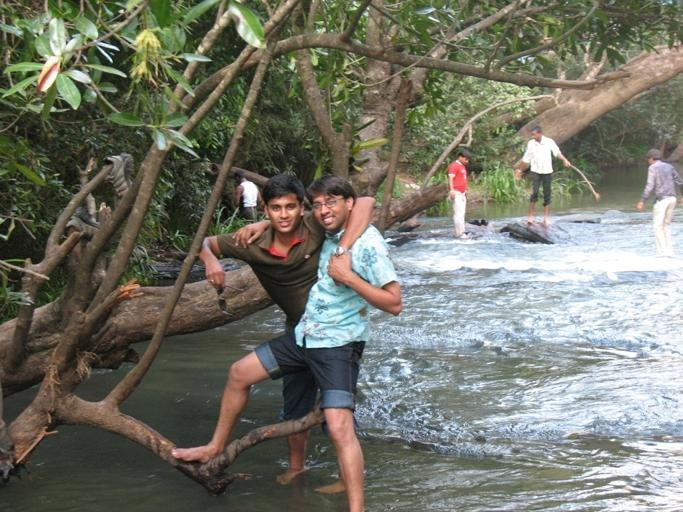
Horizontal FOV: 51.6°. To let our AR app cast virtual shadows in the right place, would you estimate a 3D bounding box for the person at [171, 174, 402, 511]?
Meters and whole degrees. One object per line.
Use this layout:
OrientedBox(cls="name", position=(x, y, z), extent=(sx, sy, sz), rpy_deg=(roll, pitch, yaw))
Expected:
OrientedBox(cls="person", position=(-0.213, 0.611, 5.333), extent=(1.353, 2.437, 0.671), rpy_deg=(-3, 5, 24))
